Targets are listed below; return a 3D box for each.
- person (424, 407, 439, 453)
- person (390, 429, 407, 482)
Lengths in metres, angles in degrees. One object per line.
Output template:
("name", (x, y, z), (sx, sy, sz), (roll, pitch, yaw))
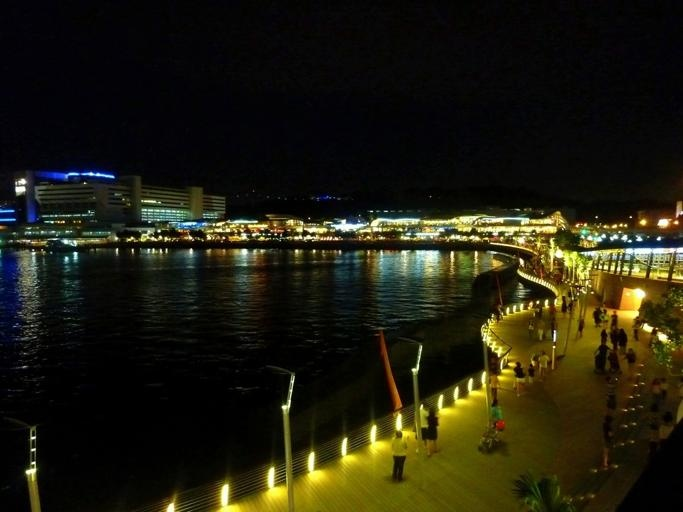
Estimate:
("person", (2.864, 5.543, 17.201), (0.305, 1.190, 0.618), (0, 5, 8))
("person", (1.677, 5.706, 15.881), (0.392, 1.585, 0.747), (0, 5, 5))
